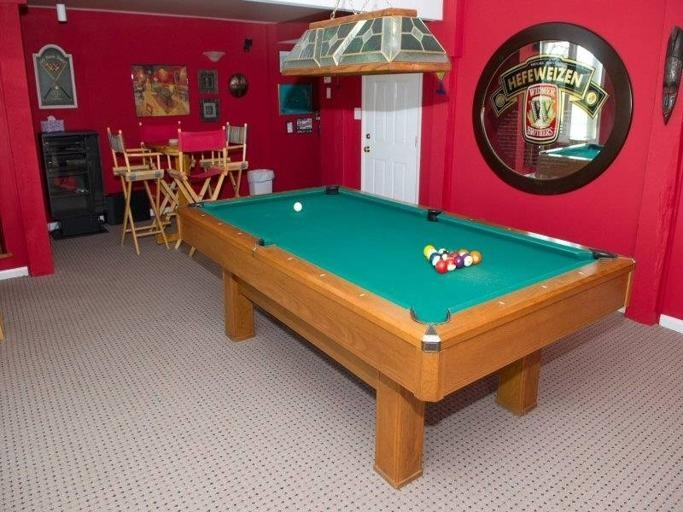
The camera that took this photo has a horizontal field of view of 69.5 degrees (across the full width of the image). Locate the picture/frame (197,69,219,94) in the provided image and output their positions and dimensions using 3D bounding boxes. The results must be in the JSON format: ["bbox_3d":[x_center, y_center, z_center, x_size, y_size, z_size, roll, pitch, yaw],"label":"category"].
[{"bbox_3d":[-1.995,-2.601,7.297,0.362,0.331,0.040,-11,13,-35],"label":"picture/frame"}]

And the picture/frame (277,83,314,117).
[{"bbox_3d":[-0.747,-2.578,8.095,0.628,0.486,0.135,-18,25,-39],"label":"picture/frame"}]

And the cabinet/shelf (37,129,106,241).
[{"bbox_3d":[-3.487,-0.931,6.439,0.745,1.354,0.529,-13,22,-28],"label":"cabinet/shelf"}]

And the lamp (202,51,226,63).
[{"bbox_3d":[-1.832,-2.910,7.193,0.325,0.153,0.268,-11,21,-24],"label":"lamp"}]

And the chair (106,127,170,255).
[{"bbox_3d":[-2.627,-0.930,6.399,0.664,1.423,1.678,-10,20,-20],"label":"chair"}]

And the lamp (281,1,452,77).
[{"bbox_3d":[0.123,-1.351,3.168,1.054,0.354,0.409,13,24,38],"label":"lamp"}]
